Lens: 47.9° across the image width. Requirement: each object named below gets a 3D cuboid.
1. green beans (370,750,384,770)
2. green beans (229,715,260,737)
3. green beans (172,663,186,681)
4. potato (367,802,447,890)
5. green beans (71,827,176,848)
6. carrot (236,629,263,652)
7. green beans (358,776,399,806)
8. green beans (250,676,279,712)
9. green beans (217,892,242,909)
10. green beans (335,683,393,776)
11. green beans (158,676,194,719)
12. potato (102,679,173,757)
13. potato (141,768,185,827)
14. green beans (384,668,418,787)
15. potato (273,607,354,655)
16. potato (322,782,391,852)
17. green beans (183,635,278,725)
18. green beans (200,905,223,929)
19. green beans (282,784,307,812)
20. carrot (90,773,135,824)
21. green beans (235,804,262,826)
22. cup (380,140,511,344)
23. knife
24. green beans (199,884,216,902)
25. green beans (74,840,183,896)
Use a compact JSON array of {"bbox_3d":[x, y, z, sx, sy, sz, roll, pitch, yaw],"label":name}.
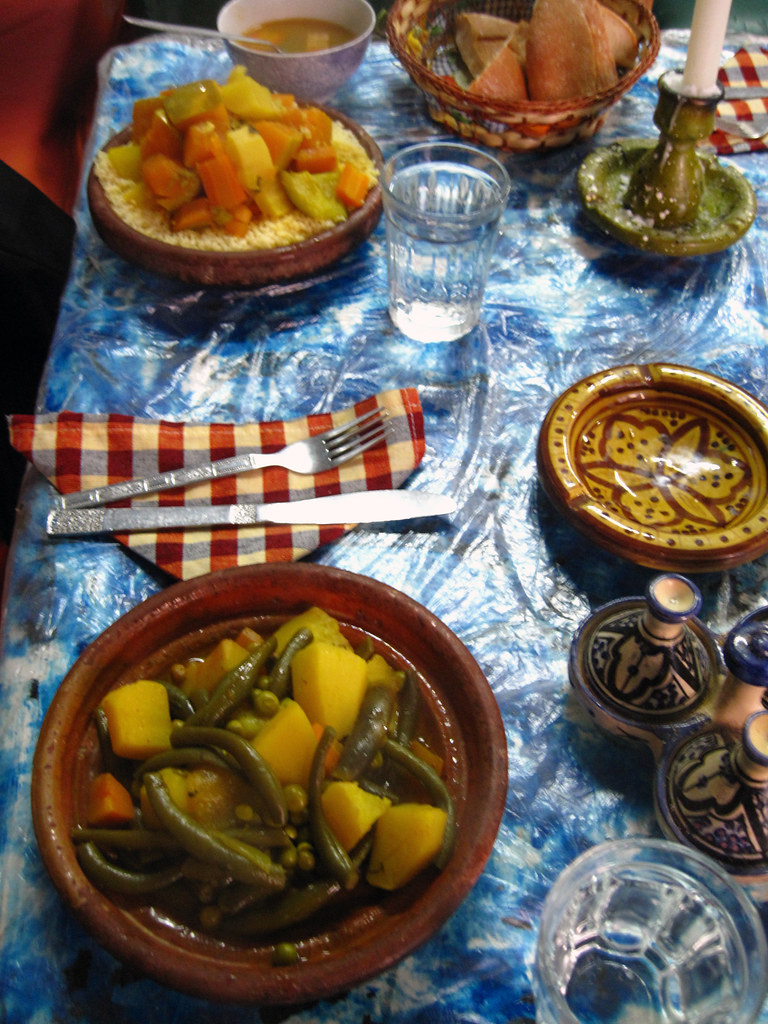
[{"bbox_3d":[-0.003,0.182,0.632,0.009,0.005,0.013,-2,101,-14],"label":"green beans"},{"bbox_3d":[-0.102,0.157,0.631,0.017,0.006,0.013,21,49,-26],"label":"green beans"},{"bbox_3d":[-0.161,0.127,0.683,0.009,0.007,0.012,5,44,-18],"label":"green beans"},{"bbox_3d":[0.016,0.226,0.580,0.047,0.046,0.047,11,55,4],"label":"potato"},{"bbox_3d":[-0.178,0.222,0.588,0.068,0.014,0.014,4,82,-4],"label":"green beans"},{"bbox_3d":[-0.107,0.103,0.695,0.016,0.012,0.016,41,80,14],"label":"carrot"},{"bbox_3d":[-0.004,0.199,0.621,0.026,0.006,0.016,29,30,-2],"label":"green beans"},{"bbox_3d":[-0.091,0.138,0.660,0.016,0.013,0.026,-25,92,-18],"label":"green beans"},{"bbox_3d":[-0.101,0.257,0.572,0.015,0.004,0.009,-19,58,4],"label":"green beans"},{"bbox_3d":[-0.012,0.163,0.644,0.028,0.027,0.092,19,40,2],"label":"green beans"},{"bbox_3d":[-0.159,0.144,0.665,0.018,0.008,0.031,-32,94,13],"label":"green beans"},{"bbox_3d":[-0.178,0.152,0.633,0.056,0.015,0.050,7,67,-35],"label":"potato"},{"bbox_3d":[-0.156,0.201,0.608,0.028,0.013,0.035,-21,61,-10],"label":"potato"},{"bbox_3d":[0.015,0.152,0.659,0.013,0.015,0.059,16,47,-1],"label":"green beans"},{"bbox_3d":[-0.056,0.091,0.689,0.040,0.016,0.041,-25,50,-39],"label":"potato"},{"bbox_3d":[-0.020,0.218,0.630,0.036,0.021,0.050,49,33,2],"label":"potato"},{"bbox_3d":[-0.110,0.132,0.655,0.026,0.020,0.090,20,58,31],"label":"green beans"},{"bbox_3d":[-0.113,0.267,0.566,0.012,0.007,0.012,45,79,-1],"label":"green beans"},{"bbox_3d":[-0.061,0.204,0.610,0.016,0.011,0.020,-8,56,-9],"label":"green beans"},{"bbox_3d":[-0.191,0.199,0.603,0.033,0.013,0.033,26,40,-24],"label":"carrot"},{"bbox_3d":[-0.096,0.214,0.606,0.020,0.009,0.010,28,43,7],"label":"green beans"},{"bbox_3d":[0.077,-0.337,1.095,0.186,0.216,0.181,3,56,-5],"label":"cup"},{"bbox_3d":[-0.138,0.002,0.872,0.398,0.027,0.045,0,57,-3],"label":"knife"},{"bbox_3d":[-0.118,0.254,0.576,0.010,0.003,0.010,5,48,-17],"label":"green beans"},{"bbox_3d":[-0.171,0.241,0.571,0.070,0.024,0.026,12,56,5],"label":"green beans"}]
